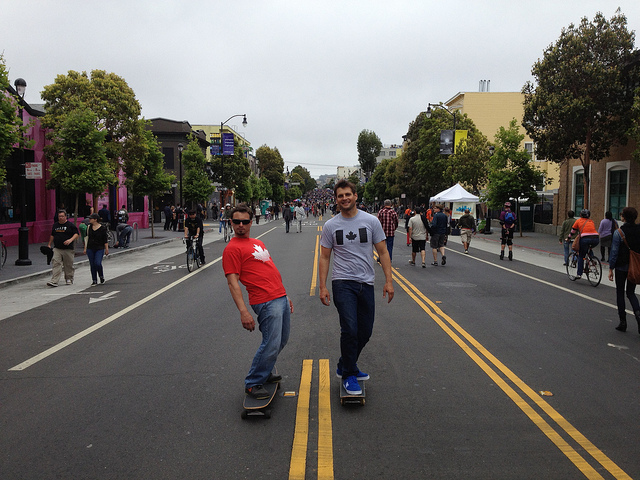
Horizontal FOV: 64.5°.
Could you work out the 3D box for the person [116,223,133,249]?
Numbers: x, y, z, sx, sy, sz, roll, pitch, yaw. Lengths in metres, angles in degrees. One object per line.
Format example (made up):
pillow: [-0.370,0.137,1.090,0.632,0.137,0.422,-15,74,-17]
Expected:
person: [-9.444,-0.204,24.456,0.632,1.155,1.151,-4,7,-25]

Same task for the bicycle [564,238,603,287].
bicycle: [7.825,0.741,14.594,0.742,1.106,1.648,0,8,-7]

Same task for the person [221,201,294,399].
person: [-0.718,0.694,5.862,0.761,2.170,0.604,-2,6,-4]

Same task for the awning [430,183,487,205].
awning: [8.955,-2.974,33.171,2.442,1.133,2.490,0,8,9]

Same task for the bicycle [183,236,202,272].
bicycle: [-4.183,0.471,16.829,0.396,1.160,1.714,-2,7,-11]

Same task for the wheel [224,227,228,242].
wheel: [-5.175,-0.211,28.001,0.134,0.788,0.452,-2,6,-7]

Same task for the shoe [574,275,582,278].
shoe: [7.461,1.080,14.657,0.153,0.078,0.056,-9,8,-12]

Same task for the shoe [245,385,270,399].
shoe: [-0.707,1.737,5.804,0.287,0.163,0.114,1,2,14]

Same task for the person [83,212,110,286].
person: [-6.283,0.268,14.245,0.588,1.996,1.234,-4,7,-25]

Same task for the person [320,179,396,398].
person: [0.439,0.588,6.120,0.781,2.586,0.737,-6,8,-37]

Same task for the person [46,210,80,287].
person: [-7.250,0.227,14.263,0.792,2.107,1.255,-4,7,-27]

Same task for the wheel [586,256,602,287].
wheel: [7.506,0.880,13.883,0.295,0.774,0.637,1,7,20]

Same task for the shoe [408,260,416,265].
shoe: [3.276,0.828,18.040,0.141,0.221,0.465,-6,2,-11]

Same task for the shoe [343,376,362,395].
shoe: [0.380,1.704,5.938,0.218,0.163,0.184,-1,7,2]

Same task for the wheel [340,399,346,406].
wheel: [0.274,1.886,5.876,0.041,0.093,0.084,-1,1,-1]

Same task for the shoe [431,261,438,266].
shoe: [4.119,0.874,18.062,0.090,0.152,0.297,0,8,-11]

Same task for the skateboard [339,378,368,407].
skateboard: [0.401,1.774,6.060,0.330,0.259,0.524,-1,7,6]

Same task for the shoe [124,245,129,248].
shoe: [-9.300,0.363,24.374,0.195,0.063,0.645,-4,8,-20]

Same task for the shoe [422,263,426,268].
shoe: [3.506,0.874,17.070,0.119,0.166,0.306,0,7,7]

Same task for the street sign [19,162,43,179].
street sign: [-10.127,-2.399,17.716,0.744,0.789,0.111,-1,-2,-4]
